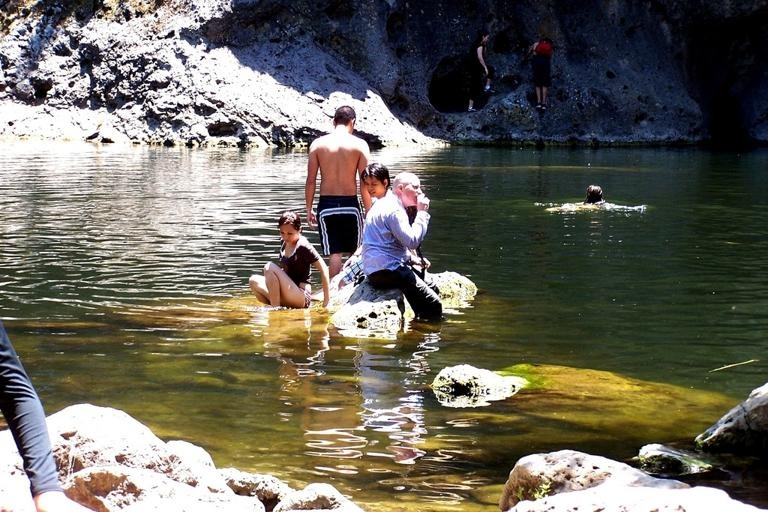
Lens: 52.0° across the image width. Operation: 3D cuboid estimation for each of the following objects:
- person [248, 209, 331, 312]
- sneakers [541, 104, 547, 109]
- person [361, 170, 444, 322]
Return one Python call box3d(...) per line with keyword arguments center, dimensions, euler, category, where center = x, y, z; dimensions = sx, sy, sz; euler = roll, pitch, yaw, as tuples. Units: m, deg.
box3d(center=(-1.155, 0.053, 9.595), dimensions=(0.975, 1.163, 0.481), euler=(1, 7, -4), category="person")
box3d(center=(7.377, -6.858, 36.307), dimensions=(0.219, 0.249, 0.666), euler=(1, 8, 8), category="sneakers")
box3d(center=(0.212, -0.175, 9.322), dimensions=(1.002, 1.803, 0.648), euler=(1, 7, 3), category="person")
